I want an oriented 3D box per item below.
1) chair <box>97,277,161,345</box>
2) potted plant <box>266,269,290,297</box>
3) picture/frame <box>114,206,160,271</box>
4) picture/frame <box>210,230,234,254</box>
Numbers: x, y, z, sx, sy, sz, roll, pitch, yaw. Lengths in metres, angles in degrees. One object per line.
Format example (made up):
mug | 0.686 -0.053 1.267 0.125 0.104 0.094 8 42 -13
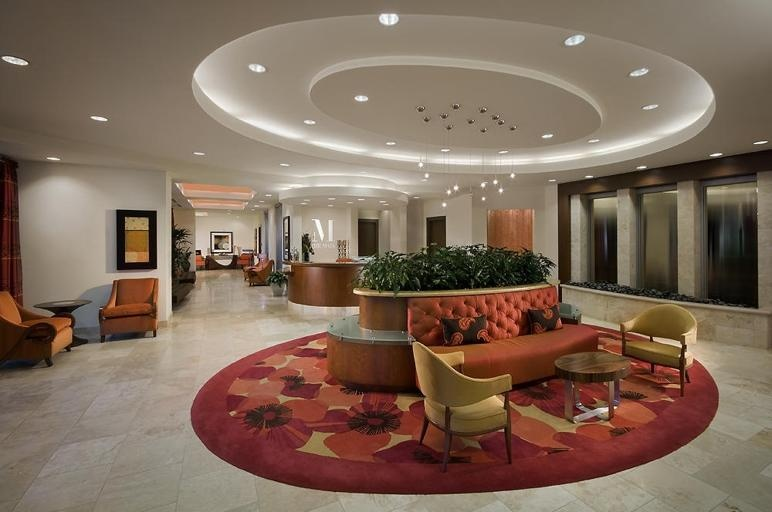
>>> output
chair | -5.422 1.033 9.198 0.995 1.368 1.379 0 -7 -17
potted plant | -3.204 0.869 13.943 0.888 0.905 0.889 4 -4 -21
picture/frame | -5.340 -0.323 9.588 0.765 1.300 0.150 -3 3 -30
picture/frame | -9.517 -0.799 25.680 1.327 1.373 0.140 0 -1 -24
